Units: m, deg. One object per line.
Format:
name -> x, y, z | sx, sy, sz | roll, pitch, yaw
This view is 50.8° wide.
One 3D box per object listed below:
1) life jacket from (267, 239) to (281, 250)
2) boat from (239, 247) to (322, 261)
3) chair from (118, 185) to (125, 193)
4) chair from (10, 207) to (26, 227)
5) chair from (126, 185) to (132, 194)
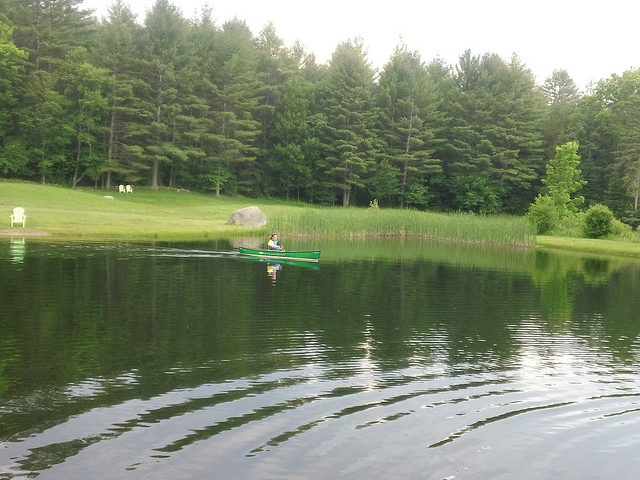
life jacket -> -2.324, 0.215, 33.783 | 0.532, 0.486, 0.595 | 0, 13, -12
boat -> -2.087, 0.718, 33.615 | 2.954, 0.421, 0.562 | 2, 1, 0
chair -> -19.300, -4.918, 65.709 | 0.565, 0.721, 0.553 | -1, 6, -11
chair -> -16.504, -1.262, 36.823 | 0.651, 0.882, 1.261 | -3, 14, -22
chair -> -18.651, -4.886, 65.968 | 0.551, 0.693, 1.601 | -2, 13, -17
